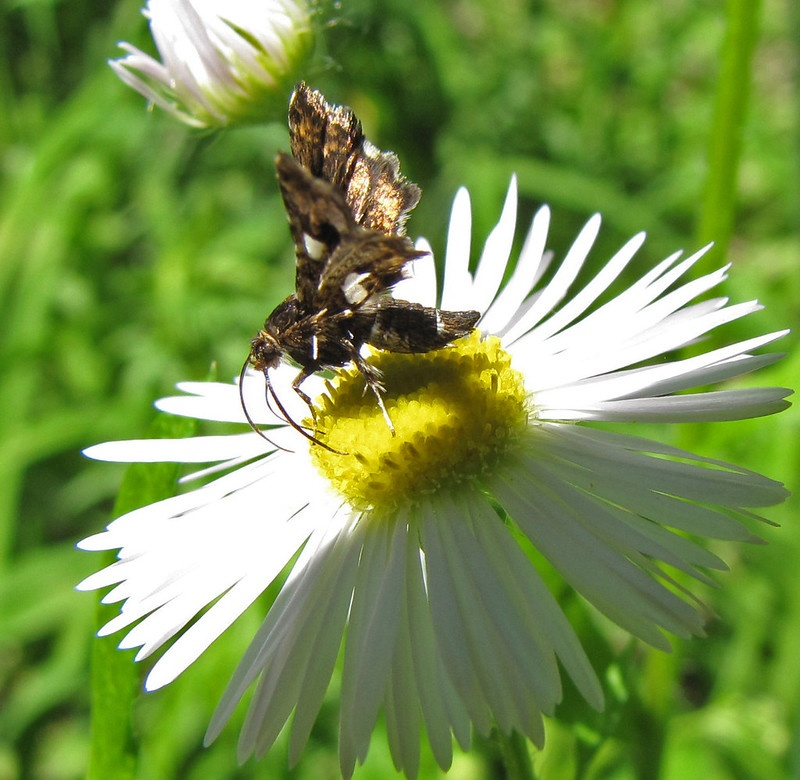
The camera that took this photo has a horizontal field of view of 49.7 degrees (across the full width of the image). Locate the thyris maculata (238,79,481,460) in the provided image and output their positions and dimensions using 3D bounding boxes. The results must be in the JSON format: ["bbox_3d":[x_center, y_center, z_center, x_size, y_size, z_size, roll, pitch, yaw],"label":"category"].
[{"bbox_3d":[-0.091,-0.209,1.550,0.367,0.586,0.435,-12,-98,-4],"label":"thyris maculata"}]
